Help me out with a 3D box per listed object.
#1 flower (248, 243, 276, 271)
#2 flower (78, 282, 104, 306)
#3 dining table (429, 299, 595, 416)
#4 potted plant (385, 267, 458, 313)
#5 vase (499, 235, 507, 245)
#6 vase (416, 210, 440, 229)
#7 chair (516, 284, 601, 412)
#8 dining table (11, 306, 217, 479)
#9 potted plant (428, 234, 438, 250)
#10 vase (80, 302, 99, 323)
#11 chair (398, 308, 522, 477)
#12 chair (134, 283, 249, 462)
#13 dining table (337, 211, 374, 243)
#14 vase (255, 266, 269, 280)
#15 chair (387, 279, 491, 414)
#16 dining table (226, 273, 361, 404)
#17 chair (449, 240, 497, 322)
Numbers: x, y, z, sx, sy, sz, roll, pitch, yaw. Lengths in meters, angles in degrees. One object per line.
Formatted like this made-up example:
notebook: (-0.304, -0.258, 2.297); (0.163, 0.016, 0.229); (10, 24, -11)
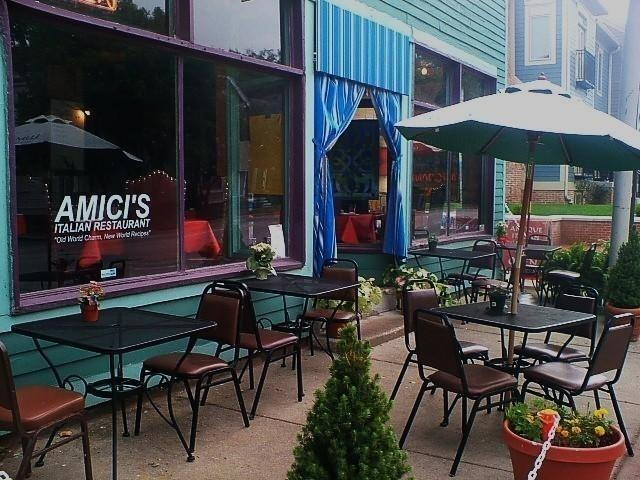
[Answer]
flower: (-0.649, 0.181, 5.746); (0.305, 0.300, 0.296); (-1, 0, -32)
flower: (-1.775, 0.419, 4.014); (0.173, 0.183, 0.178); (-2, 6, -5)
dining table: (1.824, 0.974, 4.826); (1.281, 0.631, 1.262); (2, 4, -23)
potted plant: (1.531, 0.836, 7.994); (0.860, 0.524, 0.855); (1, 4, 6)
vase: (3.906, 0.020, 10.915); (0.167, 0.155, 0.161); (2, -2, 11)
vase: (1.958, -0.358, 9.207); (0.324, 0.401, 0.616); (0, 2, 40)
chair: (2.332, 1.020, 4.994); (0.702, 1.015, 0.653); (-8, 12, -15)
dining table: (-1.510, 0.911, 4.021); (1.205, 1.125, 1.227); (1, 1, 35)
potted plant: (1.889, 0.039, 8.591); (0.214, 0.233, 0.210); (1, -3, -7)
vase: (-1.760, 0.555, 3.942); (0.135, 0.141, 0.139); (-3, -3, 40)
chair: (1.154, 1.279, 4.240); (0.887, 1.366, 0.820); (-10, 15, -32)
chair: (-1.047, 1.043, 4.354); (0.928, 1.225, 0.971); (3, 3, 3)
dining table: (0.729, -0.231, 10.298); (0.795, 0.527, 0.604); (-1, 6, 4)
vase: (-0.629, 0.364, 5.698); (0.146, 0.062, 0.152); (7, 8, 42)
chair: (1.088, 1.120, 4.698); (0.656, 0.956, 0.596); (8, 4, -4)
dining table: (-0.197, 0.946, 5.631); (1.167, 0.874, 0.897); (9, 15, 39)
chair: (2.622, 0.579, 8.819); (0.687, 1.124, 0.611); (-4, 11, -42)
